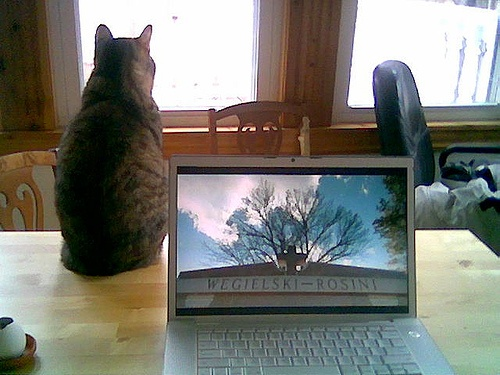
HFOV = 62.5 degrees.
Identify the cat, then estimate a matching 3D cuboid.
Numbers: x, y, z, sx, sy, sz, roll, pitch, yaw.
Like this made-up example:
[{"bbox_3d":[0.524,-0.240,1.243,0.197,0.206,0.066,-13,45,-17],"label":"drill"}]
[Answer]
[{"bbox_3d":[-0.311,-0.062,1.118,0.258,0.656,0.305,2,-5,-6],"label":"cat"}]
